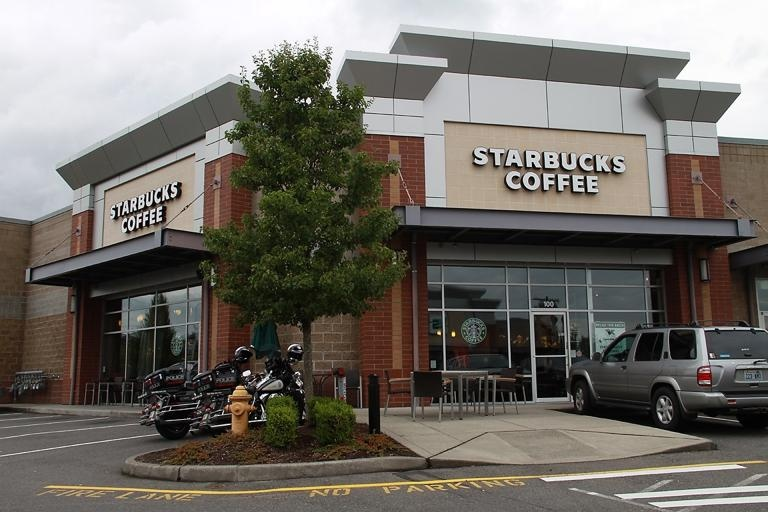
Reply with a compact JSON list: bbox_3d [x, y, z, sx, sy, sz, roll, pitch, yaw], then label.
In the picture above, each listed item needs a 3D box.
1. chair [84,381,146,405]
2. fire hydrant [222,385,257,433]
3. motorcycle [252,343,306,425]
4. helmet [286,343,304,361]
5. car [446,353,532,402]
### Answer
[{"bbox_3d":[-11.224,5.643,25.189,3.148,1.061,0.664,-11,-15,33],"label":"chair"},{"bbox_3d":[-3.223,3.434,13.702,0.583,1.082,0.769,1,-13,-15],"label":"fire hydrant"},{"bbox_3d":[-2.398,3.042,14.762,1.159,1.266,1.967,11,-20,-42],"label":"motorcycle"},{"bbox_3d":[-2.146,2.354,15.007,0.369,0.420,0.435,14,-21,-35],"label":"helmet"},{"bbox_3d":[3.745,3.985,19.439,1.483,1.210,2.514,3,-2,-36],"label":"car"}]
